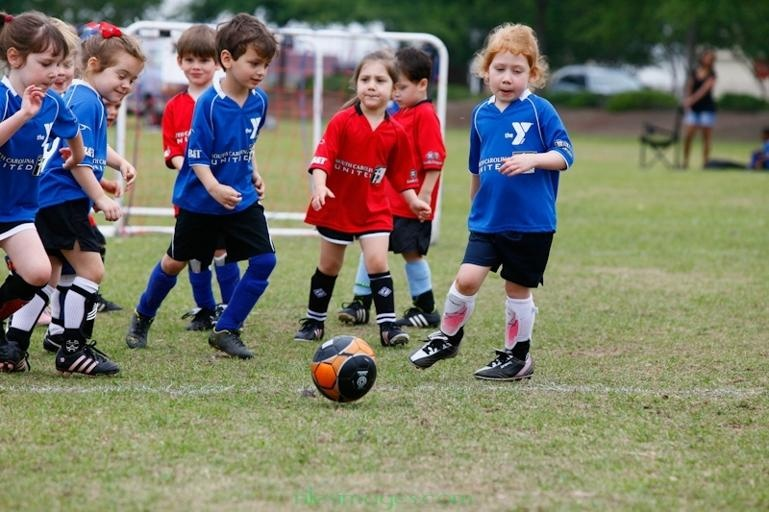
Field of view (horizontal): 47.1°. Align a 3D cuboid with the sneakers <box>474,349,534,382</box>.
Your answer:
[{"bbox_3d":[0.750,0.692,5.543,0.409,0.173,0.151,-1,-4,-8],"label":"sneakers"}]

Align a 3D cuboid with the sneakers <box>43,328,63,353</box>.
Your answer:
[{"bbox_3d":[-2.132,0.548,5.748,0.111,0.141,0.318,1,3,-26],"label":"sneakers"}]

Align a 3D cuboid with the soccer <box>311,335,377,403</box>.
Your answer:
[{"bbox_3d":[-0.191,0.633,5.200,0.363,0.361,0.374,-14,-8,21],"label":"soccer"}]

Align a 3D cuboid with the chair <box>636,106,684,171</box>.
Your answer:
[{"bbox_3d":[1.677,-0.735,5.479,0.250,0.392,0.215,3,2,6],"label":"chair"}]

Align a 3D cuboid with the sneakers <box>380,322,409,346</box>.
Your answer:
[{"bbox_3d":[0.057,0.536,6.045,0.097,0.119,0.266,1,-8,-28],"label":"sneakers"}]

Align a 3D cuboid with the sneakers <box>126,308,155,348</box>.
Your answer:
[{"bbox_3d":[-1.631,0.506,5.910,0.106,0.131,0.305,24,33,-30],"label":"sneakers"}]

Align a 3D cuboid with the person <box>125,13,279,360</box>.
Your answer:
[{"bbox_3d":[-1.128,-0.443,5.664,0.872,2.165,0.538,2,9,1],"label":"person"}]

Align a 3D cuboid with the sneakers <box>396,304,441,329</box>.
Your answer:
[{"bbox_3d":[0.266,0.458,6.593,0.374,0.148,0.129,2,-11,-11],"label":"sneakers"}]

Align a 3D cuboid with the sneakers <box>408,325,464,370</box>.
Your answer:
[{"bbox_3d":[0.322,0.579,5.546,0.442,0.170,0.160,-12,26,-41],"label":"sneakers"}]

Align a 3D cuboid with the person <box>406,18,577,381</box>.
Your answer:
[{"bbox_3d":[0.714,-0.321,5.375,0.802,2.154,0.530,3,9,9],"label":"person"}]

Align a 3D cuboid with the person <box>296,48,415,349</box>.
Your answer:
[{"bbox_3d":[-0.164,-0.378,5.992,0.849,1.966,0.468,1,9,-6],"label":"person"}]

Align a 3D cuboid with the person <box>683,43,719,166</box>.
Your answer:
[{"bbox_3d":[1.908,-0.881,5.347,0.187,0.704,0.076,4,9,16],"label":"person"}]

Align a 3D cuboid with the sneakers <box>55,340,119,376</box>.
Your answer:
[{"bbox_3d":[-1.813,0.612,5.435,0.449,0.198,0.175,4,7,-6],"label":"sneakers"}]
